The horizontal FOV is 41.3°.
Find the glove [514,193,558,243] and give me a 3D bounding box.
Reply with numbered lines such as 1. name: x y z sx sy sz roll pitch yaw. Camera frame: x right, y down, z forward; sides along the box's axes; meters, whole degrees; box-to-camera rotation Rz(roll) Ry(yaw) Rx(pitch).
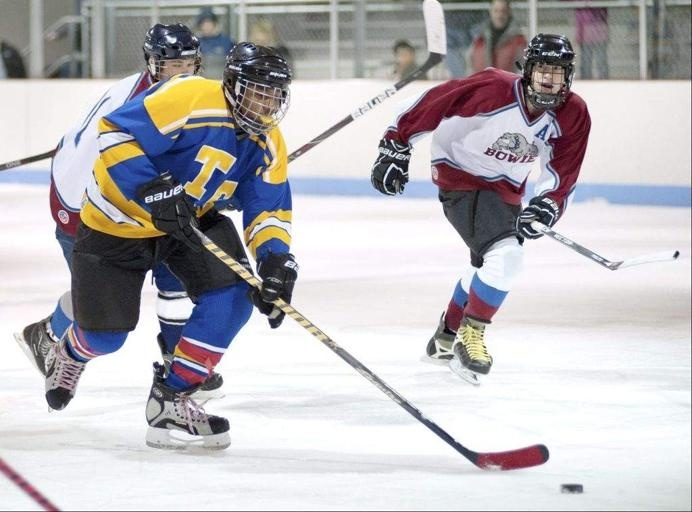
1. glove: 0.805 -0.153 3.865 0.126 0.082 0.218 42 64 18

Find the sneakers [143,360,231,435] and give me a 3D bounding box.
1. sneakers: -0.507 0.505 3.145 0.395 0.242 0.131 4 4 27

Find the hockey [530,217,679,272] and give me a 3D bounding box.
1. hockey: 1.059 -0.054 3.852 0.061 0.130 0.898 46 -5 -24

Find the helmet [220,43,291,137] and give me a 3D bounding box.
1. helmet: -0.304 -0.583 3.165 0.256 0.266 0.308 2 19 -29

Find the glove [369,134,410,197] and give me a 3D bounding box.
1. glove: 0.195 -0.397 4.029 0.158 0.243 0.193 18 14 32

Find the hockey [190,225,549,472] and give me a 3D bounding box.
1. hockey: 0.115 0.397 3.749 1.528 0.166 0.116 31 58 17

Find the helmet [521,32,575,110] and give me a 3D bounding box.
1. helmet: 0.841 -0.760 3.807 0.206 0.305 0.187 3 14 8

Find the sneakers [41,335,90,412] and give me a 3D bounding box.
1. sneakers: -1.021 0.441 3.303 0.112 0.302 0.137 29 -27 -32

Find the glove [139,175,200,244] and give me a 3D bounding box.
1. glove: -0.573 -0.144 3.003 0.193 0.227 0.112 -2 14 -10
